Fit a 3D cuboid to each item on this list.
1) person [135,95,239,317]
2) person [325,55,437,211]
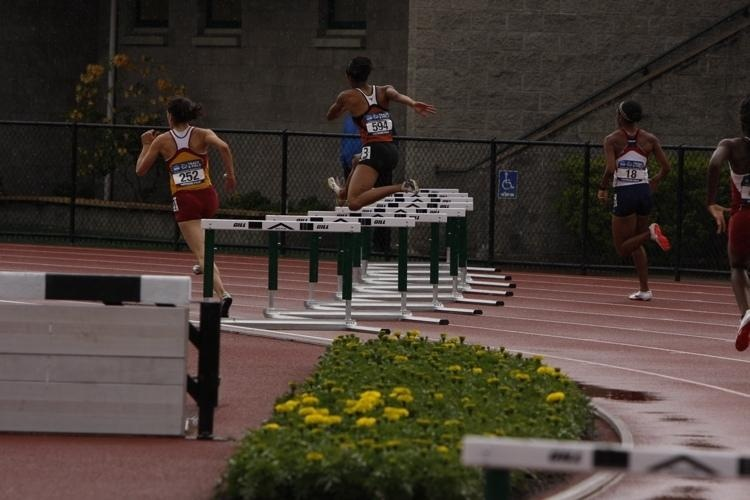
[{"bbox_3d":[-2.342,-0.599,12.710,1.065,2.918,1.533,0,-3,-29],"label":"person"},{"bbox_3d":[-0.056,-1.526,13.742,1.022,2.020,0.644,1,11,-4],"label":"person"}]
